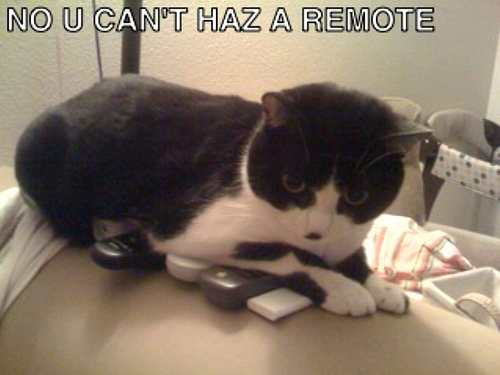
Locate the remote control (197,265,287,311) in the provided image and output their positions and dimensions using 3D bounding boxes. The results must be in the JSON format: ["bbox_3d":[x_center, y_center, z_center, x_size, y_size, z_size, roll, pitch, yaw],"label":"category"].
[{"bbox_3d":[-0.024,0.121,0.627,0.083,0.030,0.061,-6,12,-43],"label":"remote control"}]

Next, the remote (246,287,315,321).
[{"bbox_3d":[0.040,0.153,0.617,0.081,0.018,0.042,-14,35,-22],"label":"remote"}]

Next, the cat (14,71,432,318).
[{"bbox_3d":[-0.050,-0.033,0.768,0.510,0.227,0.305,13,9,19],"label":"cat"}]

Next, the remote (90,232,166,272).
[{"bbox_3d":[-0.179,0.087,0.687,0.095,0.042,0.051,-2,41,-35],"label":"remote"}]
